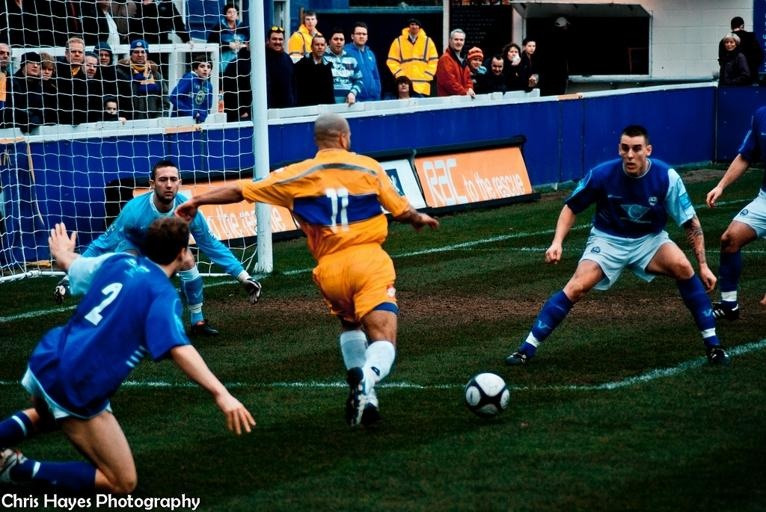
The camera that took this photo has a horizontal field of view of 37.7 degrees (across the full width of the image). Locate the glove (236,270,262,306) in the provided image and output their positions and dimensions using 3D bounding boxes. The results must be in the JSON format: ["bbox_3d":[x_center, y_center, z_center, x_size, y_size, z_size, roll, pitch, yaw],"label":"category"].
[{"bbox_3d":[-1.232,0.298,11.002,0.113,0.391,0.244,-34,22,-27],"label":"glove"}]

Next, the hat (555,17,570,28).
[{"bbox_3d":[4.095,-5.261,25.651,0.267,0.095,0.196,-23,50,-36],"label":"hat"}]

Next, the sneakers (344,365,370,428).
[{"bbox_3d":[-0.207,1.133,9.158,0.145,0.526,0.145,11,-32,-33],"label":"sneakers"}]

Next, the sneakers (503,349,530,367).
[{"bbox_3d":[1.284,0.981,10.736,0.266,0.121,0.107,2,11,-1],"label":"sneakers"}]

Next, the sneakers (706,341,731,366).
[{"bbox_3d":[3.149,0.919,10.628,0.136,0.123,0.229,0,13,6],"label":"sneakers"}]

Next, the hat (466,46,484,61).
[{"bbox_3d":[1.584,-3.462,19.376,0.213,0.212,0.299,0,1,-3],"label":"hat"}]

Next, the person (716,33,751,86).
[{"bbox_3d":[6.769,-3.727,21.610,0.606,0.926,0.570,6,17,25],"label":"person"}]

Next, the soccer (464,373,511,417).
[{"bbox_3d":[0.869,1.184,9.661,0.349,0.353,0.368,10,51,-9],"label":"soccer"}]

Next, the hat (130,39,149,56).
[{"bbox_3d":[-3.321,-2.879,15.429,0.238,0.214,0.265,1,-6,-15],"label":"hat"}]

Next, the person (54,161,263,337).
[{"bbox_3d":[-2.301,-0.062,11.269,1.691,1.343,0.837,-4,21,-23],"label":"person"}]
